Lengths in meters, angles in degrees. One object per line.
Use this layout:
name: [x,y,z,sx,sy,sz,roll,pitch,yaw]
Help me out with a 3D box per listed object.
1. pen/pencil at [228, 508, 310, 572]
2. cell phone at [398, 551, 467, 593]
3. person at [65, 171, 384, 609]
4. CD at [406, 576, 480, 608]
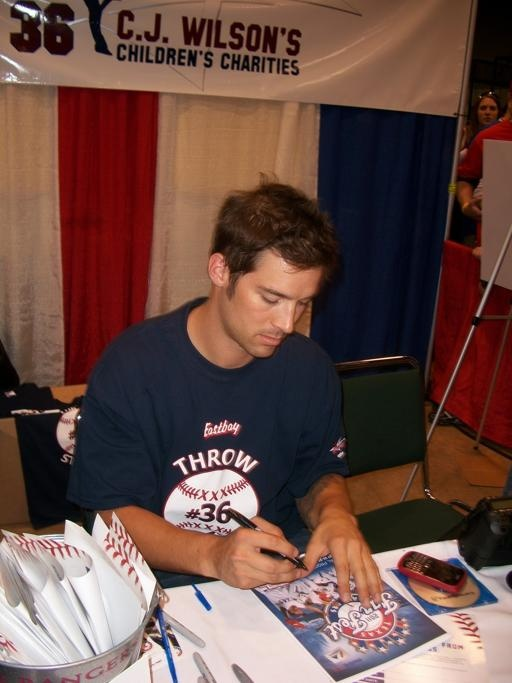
pen/pencil: [0.019,0.352,0.962,0.221,0.026,0.026,37,37,8]
cell phone: [0.298,0.373,0.927,0.081,0.036,0.089,15,21,38]
person: [-0.070,0.204,1.102,0.483,0.946,0.480,-4,10,-32]
CD: [0.298,0.385,0.875,0.078,0.020,0.079,6,16,23]
